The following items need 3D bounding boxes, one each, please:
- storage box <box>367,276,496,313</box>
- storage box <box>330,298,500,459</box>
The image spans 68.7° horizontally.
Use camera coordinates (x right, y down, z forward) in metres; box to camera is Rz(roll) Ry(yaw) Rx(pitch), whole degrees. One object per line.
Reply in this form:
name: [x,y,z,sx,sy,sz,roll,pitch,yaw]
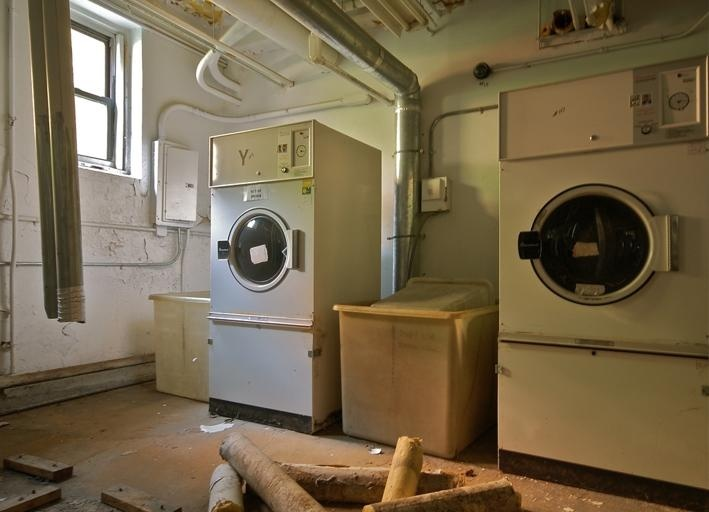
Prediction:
storage box: [0.733,0.336,4.289,0.816,0.376,0.887,0,-7,9]
storage box: [0.543,0.897,4.127,1.094,0.987,1.123,0,-2,45]
